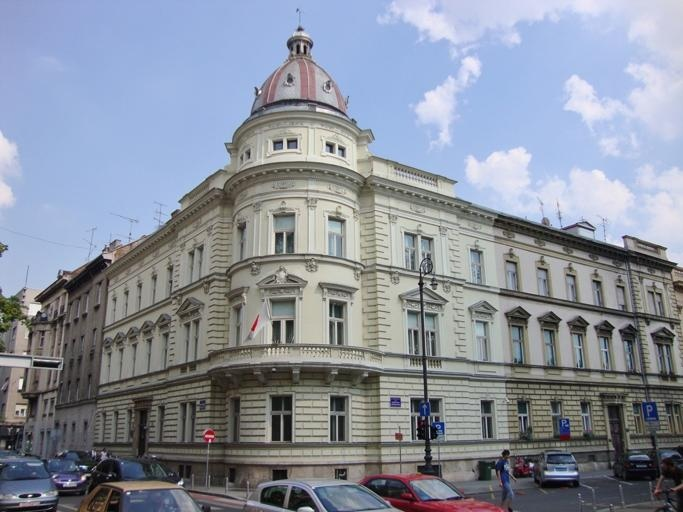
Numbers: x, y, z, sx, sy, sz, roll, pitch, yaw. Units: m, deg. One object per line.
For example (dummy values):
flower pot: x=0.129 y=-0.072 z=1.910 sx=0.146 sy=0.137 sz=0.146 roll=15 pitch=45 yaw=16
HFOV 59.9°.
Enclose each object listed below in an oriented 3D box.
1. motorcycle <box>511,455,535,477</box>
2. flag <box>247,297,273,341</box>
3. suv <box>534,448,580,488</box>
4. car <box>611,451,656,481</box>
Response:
motorcycle: x=12.429 y=14.618 z=41.084 sx=1.084 sy=0.514 sz=1.512 roll=1 pitch=-3 yaw=-2
flag: x=-4.987 y=3.925 z=36.190 sx=1.327 sy=3.393 sz=0.268 roll=-34 pitch=-69 yaw=18
suv: x=13.242 y=13.218 z=37.170 sx=1.643 sy=1.429 sz=2.905 roll=-2 pitch=-18 yaw=9
car: x=19.455 y=14.006 z=39.466 sx=2.335 sy=1.667 sz=1.999 roll=-7 pitch=-22 yaw=12
